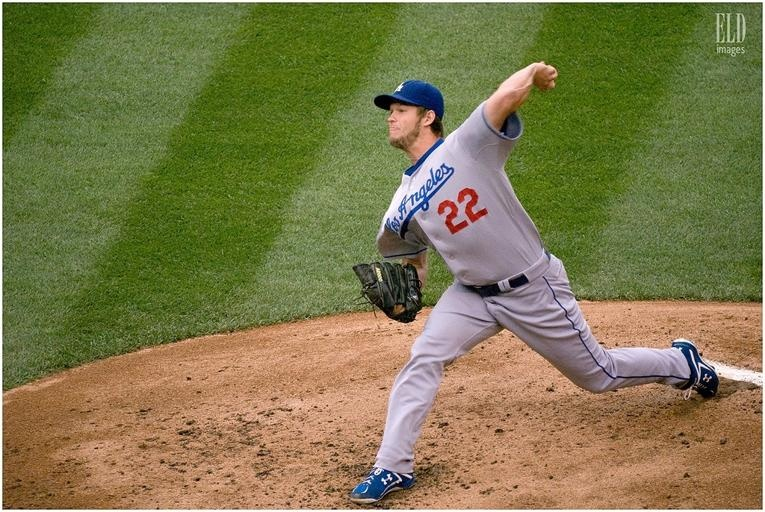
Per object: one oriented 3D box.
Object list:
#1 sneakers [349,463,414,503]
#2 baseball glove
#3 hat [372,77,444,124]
[{"bbox_3d":[-0.001,2.011,7.342,0.638,0.255,0.235,-11,26,-14],"label":"sneakers"},{"bbox_3d":[0.028,0.236,7.696,0.625,0.230,0.475,10,40,15],"label":"baseball glove"},{"bbox_3d":[0.240,-1.408,7.603,0.570,0.258,0.377,22,3,-6],"label":"hat"}]
